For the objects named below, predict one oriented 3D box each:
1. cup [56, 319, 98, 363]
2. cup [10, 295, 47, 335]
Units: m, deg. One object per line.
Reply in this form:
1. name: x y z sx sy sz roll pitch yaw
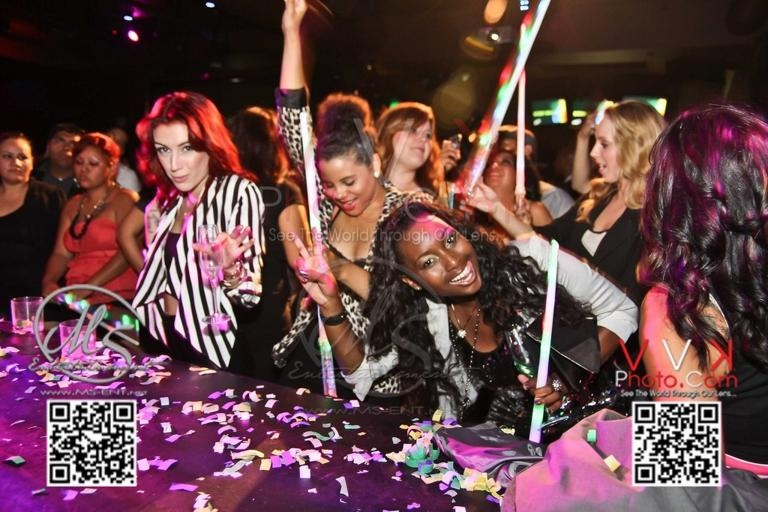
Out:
1. cup: -1.303 0.364 2.328 0.157 0.159 0.389 8 -5 -28
2. cup: -1.888 0.308 2.865 0.119 0.187 0.200 8 -5 -34
